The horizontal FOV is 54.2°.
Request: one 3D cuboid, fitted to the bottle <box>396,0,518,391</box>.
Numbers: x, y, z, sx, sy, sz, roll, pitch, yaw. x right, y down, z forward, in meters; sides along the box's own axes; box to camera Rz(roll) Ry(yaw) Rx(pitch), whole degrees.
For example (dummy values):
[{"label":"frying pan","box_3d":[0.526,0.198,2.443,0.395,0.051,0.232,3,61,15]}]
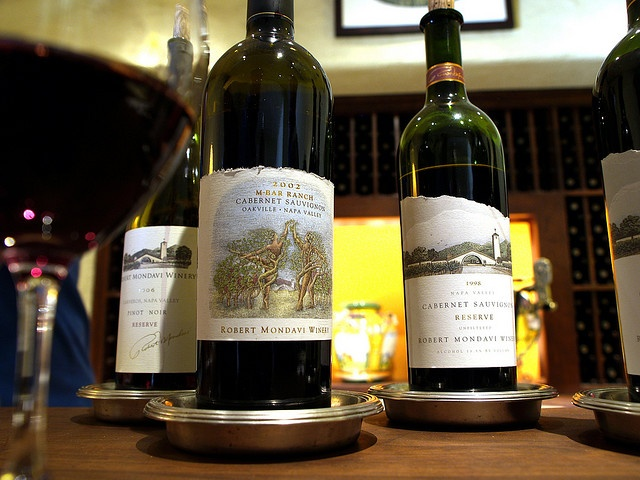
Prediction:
[{"label":"bottle","box_3d":[0.122,-0.054,0.567,0.101,0.371,0.100,1,-8,0]}]
